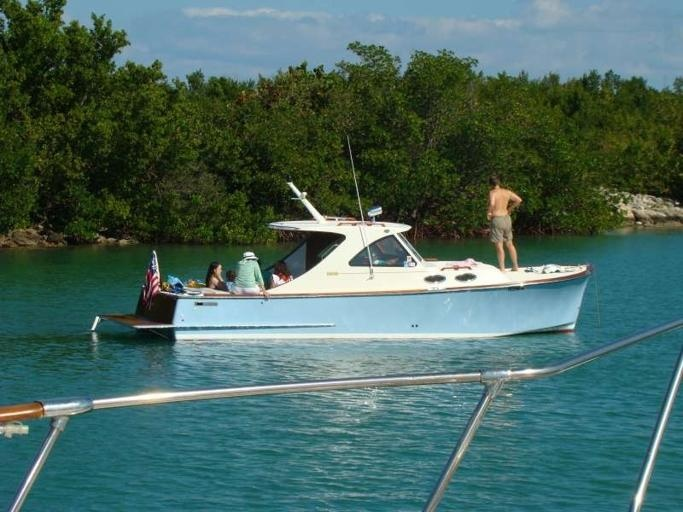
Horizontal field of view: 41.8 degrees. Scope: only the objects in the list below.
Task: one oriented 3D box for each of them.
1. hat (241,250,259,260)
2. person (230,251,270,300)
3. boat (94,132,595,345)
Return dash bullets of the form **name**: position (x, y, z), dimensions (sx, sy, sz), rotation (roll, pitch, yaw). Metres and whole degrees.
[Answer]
- **hat**: position (-2.025, -0.001, 19.477), dimensions (0.524, 0.218, 0.543), rotation (-1, 2, -6)
- **person**: position (-2.020, 0.434, 19.217), dimensions (0.725, 0.900, 1.054), rotation (-1, 14, -9)
- **boat**: position (0.289, -0.311, 21.131), dimensions (11.738, 4.470, 4.105), rotation (-1, 4, -8)
